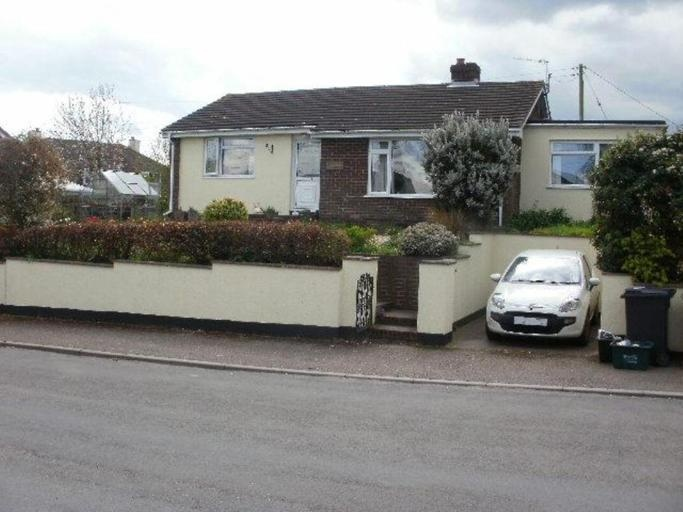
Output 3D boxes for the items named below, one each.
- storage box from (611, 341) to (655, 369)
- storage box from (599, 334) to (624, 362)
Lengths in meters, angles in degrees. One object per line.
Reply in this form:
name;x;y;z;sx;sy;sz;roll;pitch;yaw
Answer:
storage box;5.070;1.755;12.597;0.562;0.422;0.431;0;-2;24
storage box;4.893;1.621;13.205;0.501;0.666;0.421;0;2;31
